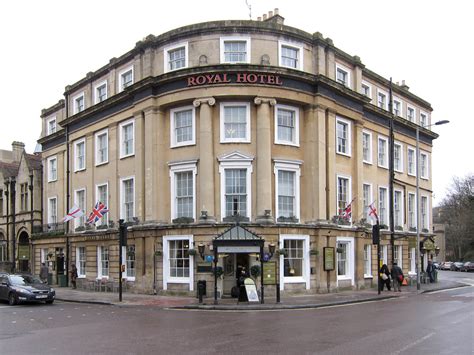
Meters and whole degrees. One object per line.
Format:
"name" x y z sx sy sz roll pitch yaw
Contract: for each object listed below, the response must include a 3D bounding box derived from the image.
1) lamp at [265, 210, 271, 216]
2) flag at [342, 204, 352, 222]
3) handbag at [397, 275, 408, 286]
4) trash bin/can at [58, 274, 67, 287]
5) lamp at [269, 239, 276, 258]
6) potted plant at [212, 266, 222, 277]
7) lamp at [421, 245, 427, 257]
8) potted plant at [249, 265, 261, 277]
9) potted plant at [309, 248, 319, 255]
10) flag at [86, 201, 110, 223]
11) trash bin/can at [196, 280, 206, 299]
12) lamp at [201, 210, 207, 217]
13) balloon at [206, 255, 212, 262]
"lamp" 2.099 2.586 55.084 0.367 0.399 0.392 1 -10 -4
"flag" 8.093 2.611 58.641 0.679 1.241 3.028 -3 -13 8
"handbag" 12.199 7.760 59.060 0.445 0.792 1.395 -7 -14 25
"trash bin/can" -14.210 8.581 64.522 0.797 1.309 0.805 -7 -9 44
"lamp" 2.412 4.965 54.529 0.490 1.143 1.105 -2 -12 2
"potted plant" -1.317 6.446 53.590 0.706 0.853 0.784 2 -13 -6
"lamp" 16.145 6.551 69.015 0.711 1.000 0.761 1 -12 4
"potted plant" 1.221 6.446 53.986 0.645 0.758 0.680 10 -22 -29
"potted plant" 5.413 5.404 56.154 0.509 0.428 0.412 3 -13 -13
"flag" -10.644 2.825 60.961 1.564 2.048 0.203 1 14 -9
"trash bin/can" -2.325 7.479 52.236 0.970 1.481 1.041 1 -12 -4
"lamp" -2.289 2.658 55.201 0.328 0.381 0.388 -1 17 2
"balloon" -1.887 5.738 54.771 0.417 0.465 0.190 0 -12 -6
